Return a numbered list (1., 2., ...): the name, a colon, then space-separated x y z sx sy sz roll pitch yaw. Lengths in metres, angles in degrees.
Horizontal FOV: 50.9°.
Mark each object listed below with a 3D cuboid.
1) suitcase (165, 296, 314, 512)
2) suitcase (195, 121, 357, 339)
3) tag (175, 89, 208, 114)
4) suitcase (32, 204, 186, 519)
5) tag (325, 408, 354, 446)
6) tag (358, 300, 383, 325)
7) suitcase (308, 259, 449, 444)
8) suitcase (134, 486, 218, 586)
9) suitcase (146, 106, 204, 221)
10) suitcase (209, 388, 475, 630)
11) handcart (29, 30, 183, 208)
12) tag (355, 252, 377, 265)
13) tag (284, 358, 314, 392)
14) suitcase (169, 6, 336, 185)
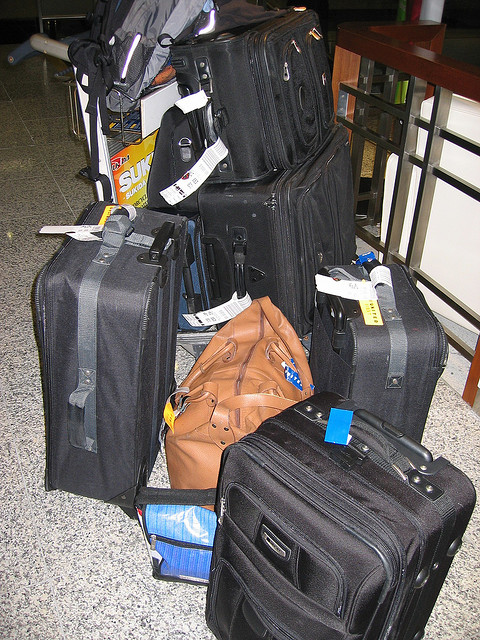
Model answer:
1. suitcase: -0.022 0.338 1.407 0.346 0.431 0.630 20 40 6
2. suitcase: 0.195 -0.361 1.822 0.394 0.656 0.704 2 28 27
3. tag: -0.126 -0.589 1.362 0.076 0.047 0.021 -21 21 3
4. suitcase: -0.288 0.119 1.134 0.249 0.672 0.492 9 42 2
5. tag: 0.172 0.182 0.866 0.045 0.017 0.071 4 51 18
6. tag: 0.297 -0.015 1.153 0.038 0.009 0.116 0 40 1
7. suitcase: 0.354 0.098 1.314 0.254 0.457 0.335 -11 44 -2
8. suitcase: -0.103 0.454 1.139 0.217 0.259 0.229 4 73 2
9. suitcase: -0.218 -0.554 1.649 0.162 0.303 0.191 -6 43 -16
10. suitcase: 0.149 0.323 0.840 0.208 0.405 0.272 -24 46 -36
11. handcart: -0.421 -0.531 1.785 0.516 0.755 0.450 1 42 -6
12. tag: 0.354 -0.169 1.393 0.046 0.019 0.049 7 53 43
13. tag: 0.144 0.140 1.259 0.056 0.017 0.057 25 38 -42
14. suitcase: 0.019 -0.646 1.473 0.317 0.403 0.544 1 38 23
